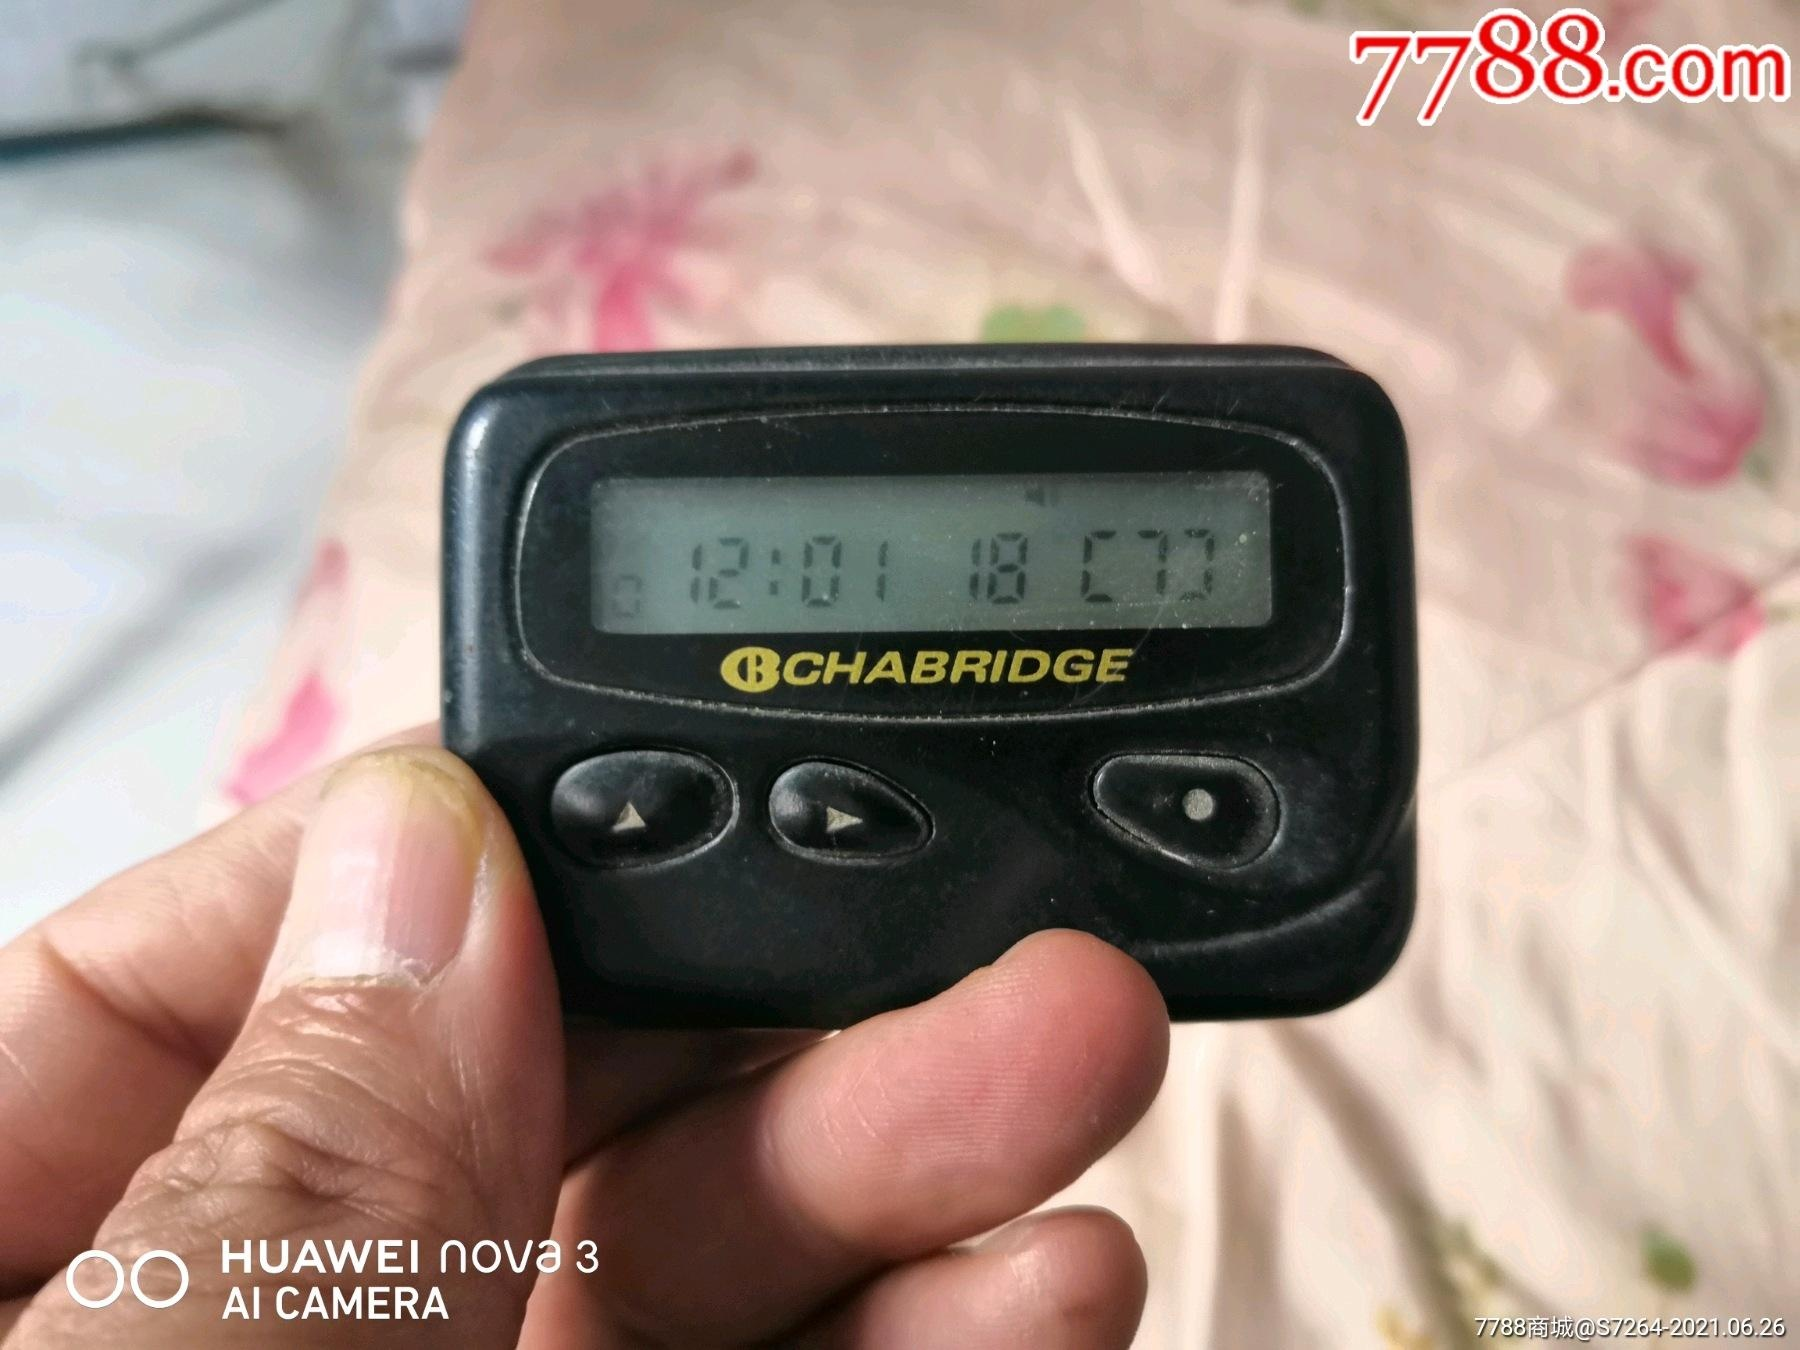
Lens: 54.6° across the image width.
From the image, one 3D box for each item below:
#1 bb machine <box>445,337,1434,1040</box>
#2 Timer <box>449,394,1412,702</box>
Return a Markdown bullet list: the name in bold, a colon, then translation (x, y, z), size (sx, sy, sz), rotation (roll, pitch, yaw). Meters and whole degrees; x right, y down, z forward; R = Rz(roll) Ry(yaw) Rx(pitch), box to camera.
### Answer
- **bb machine**: translation (0.017, -0.018, 1.589), size (0.967, 0.549, 0.604), rotation (-2, 106, -5)
- **Timer**: translation (0.032, -0.094, 1.644), size (0.896, 0.130, 0.335), rotation (0, 94, -1)
